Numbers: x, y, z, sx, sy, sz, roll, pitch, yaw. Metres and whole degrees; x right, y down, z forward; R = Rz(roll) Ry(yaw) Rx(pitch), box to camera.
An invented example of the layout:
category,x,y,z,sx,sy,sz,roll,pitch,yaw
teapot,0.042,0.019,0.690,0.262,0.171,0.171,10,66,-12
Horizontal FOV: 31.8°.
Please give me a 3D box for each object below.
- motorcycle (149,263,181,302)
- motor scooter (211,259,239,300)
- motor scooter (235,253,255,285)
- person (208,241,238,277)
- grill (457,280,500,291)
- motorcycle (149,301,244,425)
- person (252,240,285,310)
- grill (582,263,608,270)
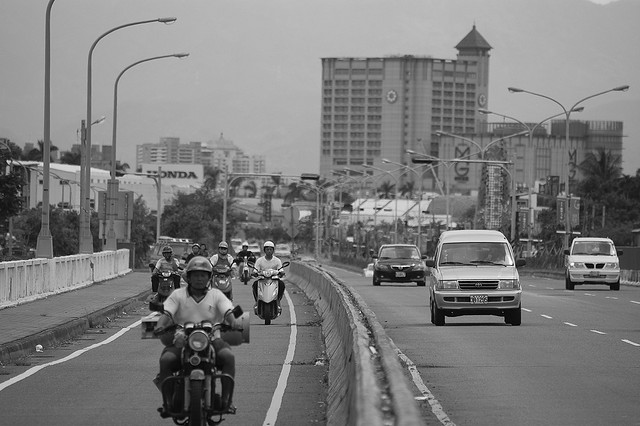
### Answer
category,x,y,z,sx,sy,sz,roll,pitch,yaw
motorcycle,-4.643,2.184,34.100,0.959,1.183,1.749,3,-2,-3
motor scooter,-2.830,1.920,32.676,0.893,1.181,1.683,-1,8,-8
motor scooter,-2.243,1.774,34.072,0.472,0.602,0.931,0,-3,-2
person,-2.824,1.309,32.989,0.864,0.900,1.463,-2,-6,-4
grill,4.336,1.958,30.848,1.134,0.288,0.079,-1,-2,7
motorcycle,-2.068,2.686,19.202,1.034,1.570,2.175,0,-3,-2
person,-1.502,1.639,32.775,0.833,1.622,2.100,1,-1,-1
grill,11.984,2.296,49.146,1.010,0.284,0.125,-2,-3,17
